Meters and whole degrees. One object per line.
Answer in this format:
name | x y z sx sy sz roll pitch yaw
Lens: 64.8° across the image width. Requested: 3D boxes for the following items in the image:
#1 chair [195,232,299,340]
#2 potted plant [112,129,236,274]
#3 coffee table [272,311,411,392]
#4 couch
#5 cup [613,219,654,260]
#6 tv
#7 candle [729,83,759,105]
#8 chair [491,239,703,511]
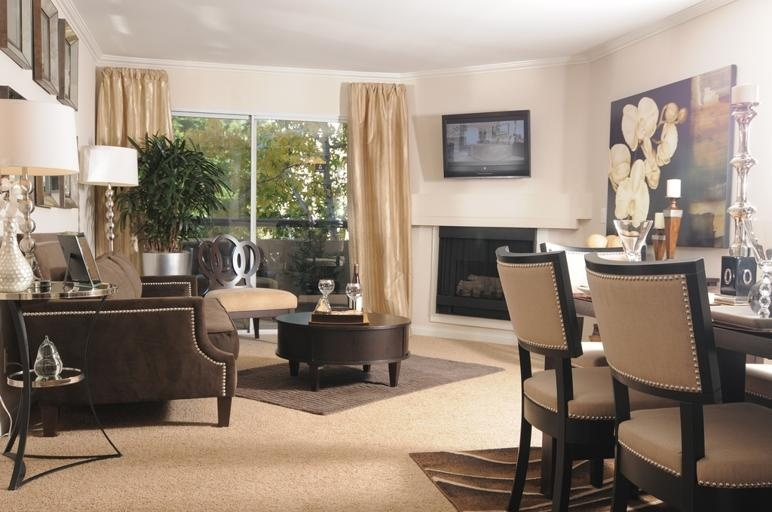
chair | -1.457 0.331 6.069 0.770 1.063 0.812 -2 4 -38
potted plant | -2.195 -0.548 6.704 1.329 1.601 1.494 2 3 23
coffee table | -0.322 0.669 4.716 0.744 0.322 0.727 -1 4 -10
couch | -1.863 0.186 4.451 1.232 1.502 1.693 -2 7 -26
cup | 1.266 -0.054 3.080 0.189 0.193 0.187 7 -2 0
tv | 1.127 -1.222 6.602 0.814 0.567 0.081 0 4 16
candle | 1.844 -0.827 3.108 0.135 0.091 0.133 -1 3 -21
chair | 1.035 0.489 3.598 1.194 1.913 1.124 -2 2 -14
